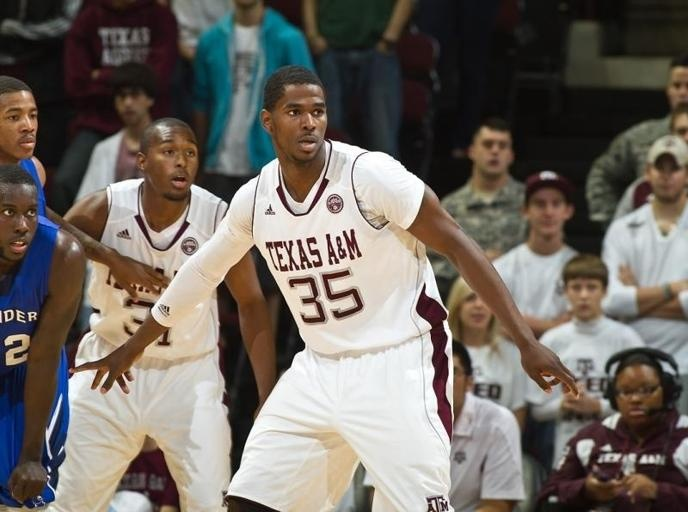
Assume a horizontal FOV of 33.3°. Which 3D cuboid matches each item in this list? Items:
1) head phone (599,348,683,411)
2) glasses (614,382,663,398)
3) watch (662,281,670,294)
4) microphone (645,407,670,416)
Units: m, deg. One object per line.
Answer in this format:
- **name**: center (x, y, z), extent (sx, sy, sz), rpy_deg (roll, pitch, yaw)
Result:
- **head phone**: center (1.715, 0.694, 6.567), extent (0.322, 0.385, 0.139), rpy_deg (-2, -5, 21)
- **glasses**: center (1.653, 0.753, 6.485), extent (0.238, 0.086, 0.055), rpy_deg (4, 4, 24)
- **watch**: center (1.868, 0.167, 6.640), extent (0.052, 0.088, 0.047), rpy_deg (3, -2, -24)
- **microphone**: center (1.760, 0.867, 6.462), extent (0.156, 0.061, 0.020), rpy_deg (2, 3, -15)
